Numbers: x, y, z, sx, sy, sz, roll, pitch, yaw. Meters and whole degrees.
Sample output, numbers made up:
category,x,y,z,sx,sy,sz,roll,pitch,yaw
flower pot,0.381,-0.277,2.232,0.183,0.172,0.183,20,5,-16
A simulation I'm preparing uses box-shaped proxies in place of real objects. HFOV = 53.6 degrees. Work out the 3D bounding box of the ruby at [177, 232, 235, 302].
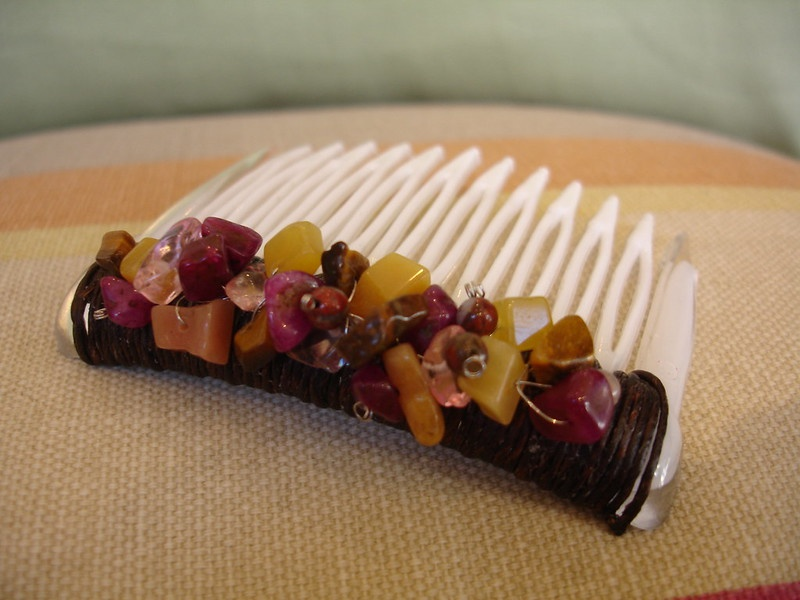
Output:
category,x,y,z,sx,sy,sz,roll,pitch,yaw
ruby,-0.277,-0.044,1.186,0.085,0.090,0.083,-9,32,0

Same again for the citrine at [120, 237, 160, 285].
category,x,y,z,sx,sy,sz,roll,pitch,yaw
citrine,-0.386,-0.061,1.211,0.022,0.064,0.063,38,58,-24

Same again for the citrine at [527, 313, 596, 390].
category,x,y,z,sx,sy,sz,roll,pitch,yaw
citrine,0.234,0.060,1.109,0.087,0.042,0.123,21,52,20

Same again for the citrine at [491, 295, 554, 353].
category,x,y,z,sx,sy,sz,roll,pitch,yaw
citrine,0.174,0.028,1.157,0.092,0.075,0.110,-6,5,-8

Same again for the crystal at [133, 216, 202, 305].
category,x,y,z,sx,sy,sz,roll,pitch,yaw
crystal,-0.343,-0.053,1.146,0.036,0.086,0.127,28,79,41

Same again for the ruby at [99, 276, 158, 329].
category,x,y,z,sx,sy,sz,roll,pitch,yaw
ruby,-0.407,0.008,1.201,0.079,0.067,0.022,36,24,-9

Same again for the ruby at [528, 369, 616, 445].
category,x,y,z,sx,sy,sz,roll,pitch,yaw
ruby,0.234,0.146,1.103,0.098,0.104,0.102,-27,63,5
